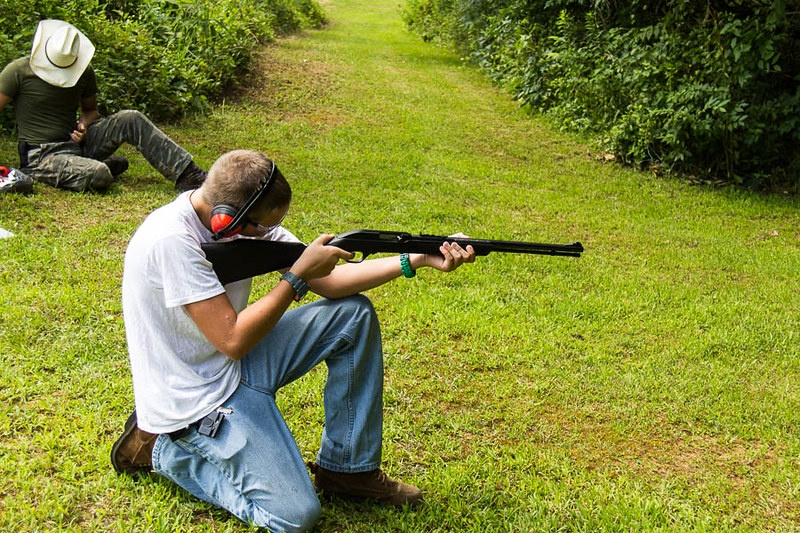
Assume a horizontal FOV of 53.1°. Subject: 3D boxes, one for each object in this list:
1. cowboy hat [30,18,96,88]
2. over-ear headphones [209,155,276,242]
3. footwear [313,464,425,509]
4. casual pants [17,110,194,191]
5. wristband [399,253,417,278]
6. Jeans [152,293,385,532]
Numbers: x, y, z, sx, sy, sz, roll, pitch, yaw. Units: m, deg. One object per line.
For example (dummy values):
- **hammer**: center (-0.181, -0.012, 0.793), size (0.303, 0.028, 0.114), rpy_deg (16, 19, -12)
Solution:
- **cowboy hat**: center (-4.620, -2.899, 10.916), size (0.724, 0.944, 0.356), rpy_deg (14, -9, -27)
- **over-ear headphones**: center (-1.415, -0.590, 7.422), size (0.208, 0.720, 0.521), rpy_deg (43, -14, -29)
- **footwear**: center (-0.308, 2.139, 7.962), size (1.172, 0.470, 0.383), rpy_deg (5, 10, -5)
- **casual pants**: center (-4.097, -1.630, 11.358), size (2.053, 0.807, 1.151), rpy_deg (10, 13, 4)
- **wristband**: center (0.077, -0.005, 7.988), size (0.159, 0.210, 0.077), rpy_deg (-1, -7, -23)
- **Jeans**: center (-1.202, 1.787, 7.881), size (1.935, 1.385, 2.698), rpy_deg (17, 38, -1)
